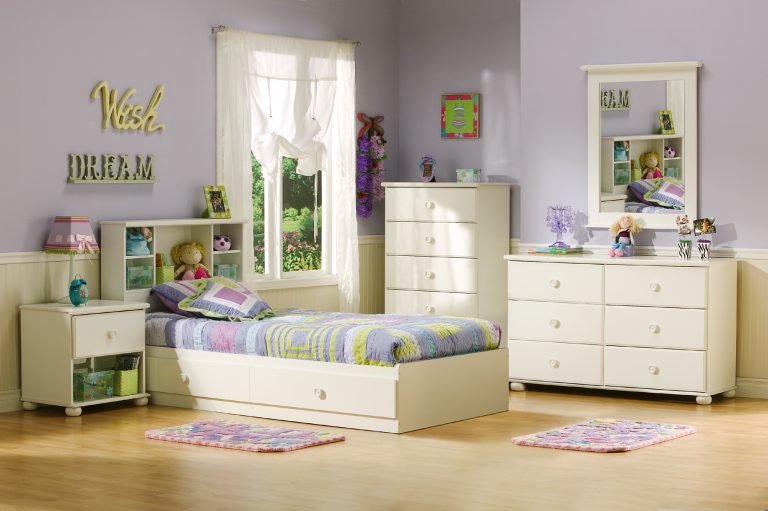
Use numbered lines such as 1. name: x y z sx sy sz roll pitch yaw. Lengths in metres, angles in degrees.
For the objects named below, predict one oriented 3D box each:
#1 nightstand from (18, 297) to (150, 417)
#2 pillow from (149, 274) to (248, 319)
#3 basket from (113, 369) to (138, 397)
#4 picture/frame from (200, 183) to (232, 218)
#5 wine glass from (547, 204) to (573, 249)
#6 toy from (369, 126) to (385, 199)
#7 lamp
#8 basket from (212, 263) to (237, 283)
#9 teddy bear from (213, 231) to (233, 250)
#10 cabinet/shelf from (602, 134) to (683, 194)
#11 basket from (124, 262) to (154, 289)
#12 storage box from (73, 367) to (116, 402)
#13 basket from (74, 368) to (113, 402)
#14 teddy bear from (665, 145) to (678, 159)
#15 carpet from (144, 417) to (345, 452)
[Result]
1. nightstand: -2.200 0.636 5.004 0.838 0.893 0.987 0 1 33
2. pillow: -1.543 0.267 5.234 0.429 0.119 0.435 -7 12 -35
3. basket: -1.922 0.949 4.907 0.170 0.206 0.232 -2 3 -43
4. picture/frame: -1.435 -0.476 5.745 0.272 0.297 0.151 -4 3 -44
5. wine glass: 1.538 -0.257 5.710 0.206 0.391 0.304 -2 2 15
6. toy: -0.033 -0.993 7.036 0.097 0.758 0.295 -1 3 25
7. lamp: -2.273 0.020 4.920 0.391 0.656 0.421 -4 3 -44
8. basket: -1.380 0.139 5.695 0.159 0.251 0.277 0 2 1
9. teddy bear: -1.432 -0.126 5.800 0.133 0.119 0.162 4 3 -11
10. cabinet/shelf: 2.222 -0.778 5.535 0.594 0.498 0.186 0 0 26
11. basket: -1.958 0.142 5.245 0.221 0.233 0.130 -3 3 -31
12. storage box: -2.115 0.934 4.788 0.236 0.149 0.229 1 1 35
13. basket: -2.134 0.931 4.794 0.230 0.146 0.222 1 1 35
14. teddy bear: 2.384 -0.861 5.438 0.090 0.100 0.107 -3 -13 -18
15. carpet: -0.877 1.132 4.184 1.256 0.052 0.569 -1 2 20
